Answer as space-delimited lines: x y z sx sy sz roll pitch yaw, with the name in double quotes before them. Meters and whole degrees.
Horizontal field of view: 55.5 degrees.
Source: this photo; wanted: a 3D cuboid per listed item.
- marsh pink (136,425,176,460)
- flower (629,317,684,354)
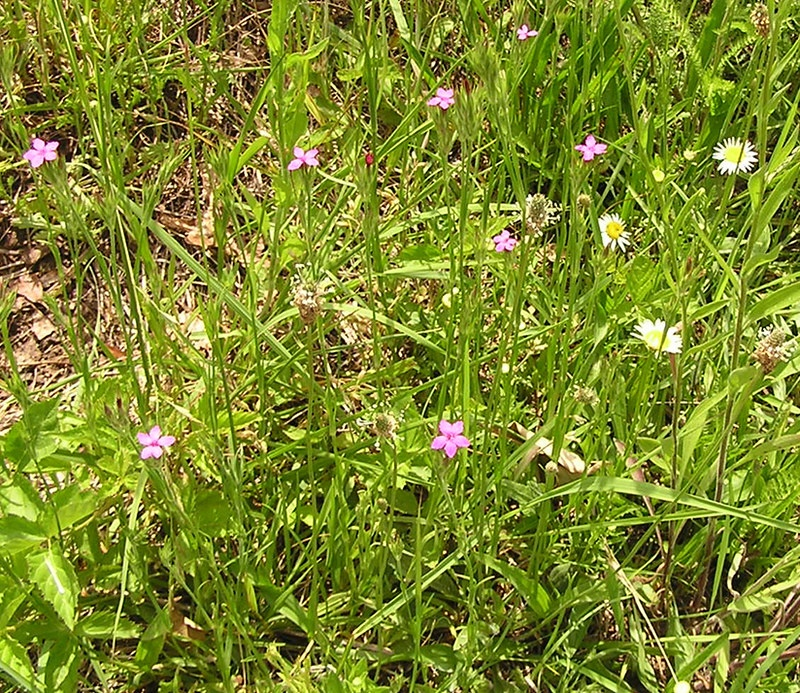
"marsh pink" -0.523 0.220 1.629 0.086 0.028 0.102 -15 49 -10
"flower" 0.803 -0.054 2.315 0.123 0.062 0.155 -10 44 2
